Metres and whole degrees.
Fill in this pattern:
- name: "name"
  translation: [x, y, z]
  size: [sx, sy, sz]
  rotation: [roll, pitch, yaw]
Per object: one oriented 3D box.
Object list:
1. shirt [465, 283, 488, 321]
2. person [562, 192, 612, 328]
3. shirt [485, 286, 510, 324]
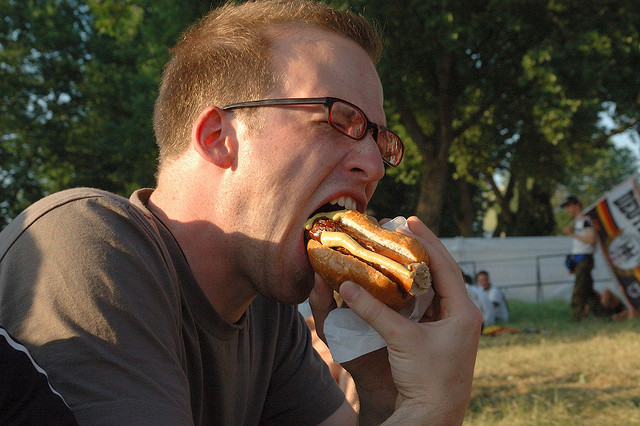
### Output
- name: "shirt"
  translation: [3.160, 1.785, 18.075]
  size: [0.347, 0.786, 0.824]
  rotation: [-5, -7, 10]
- name: "person"
  translation: [4.176, 0.810, 14.043]
  size: [0.709, 2.346, 0.836]
  rotation: [3, -35, 10]
- name: "shirt"
  translation: [3.549, 1.807, 17.864]
  size: [0.179, 0.733, 0.671]
  rotation: [-3, -7, -15]
